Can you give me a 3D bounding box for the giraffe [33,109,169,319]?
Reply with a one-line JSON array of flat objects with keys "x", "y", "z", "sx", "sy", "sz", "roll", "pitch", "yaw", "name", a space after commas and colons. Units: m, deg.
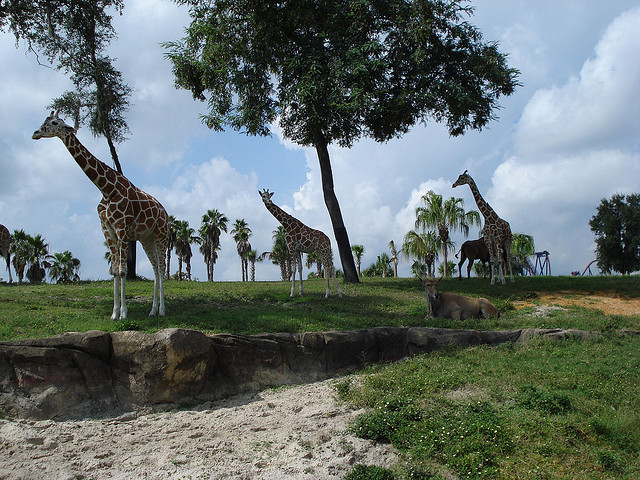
[{"x": -5.771, "y": -0.605, "z": 13.565, "sx": 2.636, "sy": 5.921, "sz": 1.497, "roll": -8, "pitch": 10, "yaw": -22, "name": "giraffe"}]
